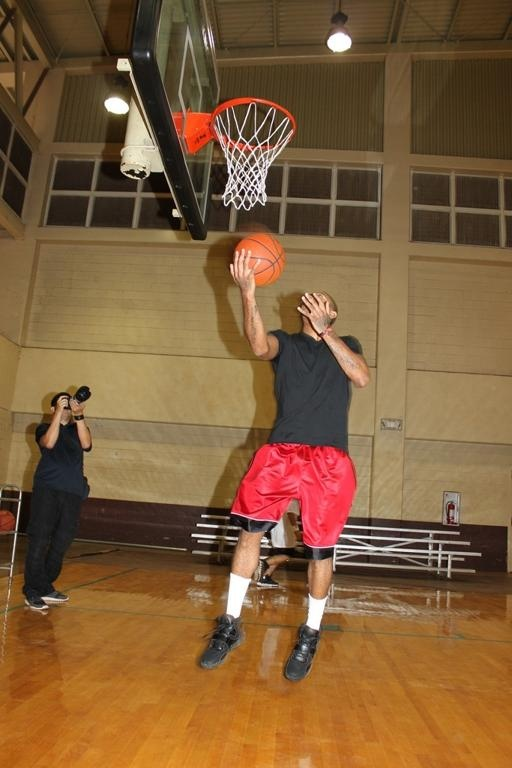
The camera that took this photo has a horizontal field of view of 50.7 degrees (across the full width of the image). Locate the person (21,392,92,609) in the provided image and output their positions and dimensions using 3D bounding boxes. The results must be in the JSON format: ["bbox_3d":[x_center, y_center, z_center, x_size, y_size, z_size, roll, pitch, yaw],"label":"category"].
[{"bbox_3d":[-1.280,0.700,3.467,0.370,1.324,0.556,11,-11,-15],"label":"person"}]

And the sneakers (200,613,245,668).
[{"bbox_3d":[-0.140,1.046,2.213,0.151,0.189,0.193,7,-10,5],"label":"sneakers"}]

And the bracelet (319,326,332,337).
[{"bbox_3d":[0.305,-0.234,2.403,0.033,0.020,0.060,11,-16,-14],"label":"bracelet"}]

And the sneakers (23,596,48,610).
[{"bbox_3d":[-1.284,1.274,3.159,0.167,0.055,0.057,-9,-13,41],"label":"sneakers"}]

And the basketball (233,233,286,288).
[{"bbox_3d":[0.043,-0.654,2.787,0.231,0.267,0.232,26,32,29],"label":"basketball"}]

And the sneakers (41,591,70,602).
[{"bbox_3d":[-1.252,1.335,3.384,0.185,0.079,0.063,1,-6,6],"label":"sneakers"}]

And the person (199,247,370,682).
[{"bbox_3d":[0.121,0.294,2.357,0.697,1.773,0.440,10,-11,-9],"label":"person"}]

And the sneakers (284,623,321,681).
[{"bbox_3d":[0.187,1.066,2.135,0.076,0.112,0.248,5,-3,12],"label":"sneakers"}]
